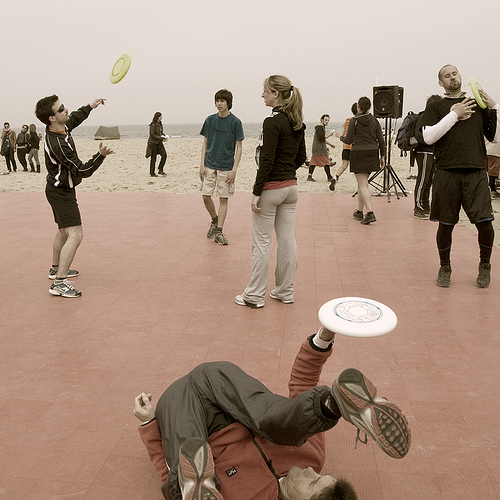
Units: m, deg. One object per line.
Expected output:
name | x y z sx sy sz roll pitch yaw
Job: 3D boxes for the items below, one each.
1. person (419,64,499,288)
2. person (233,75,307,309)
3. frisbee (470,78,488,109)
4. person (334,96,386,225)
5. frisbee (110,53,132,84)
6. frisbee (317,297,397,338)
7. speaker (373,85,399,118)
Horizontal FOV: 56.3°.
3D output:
person | 2.105 -0.690 4.679 0.853 2.192 0.443 5 16 17
person | 0.219 -0.472 4.227 0.605 2.053 0.305 -2 15 -11
frisbee | 2.092 -1.419 4.239 0.171 0.256 0.411 8 16 24
person | 2.002 -1.600 8.360 0.696 2.175 1.063 -9 13 -34
frisbee | -1.557 -2.166 5.576 0.415 0.411 0.050 -3 -19 40
frisbee | 0.370 0.223 1.583 0.258 0.047 0.307 10 16 31
speaker | 2.974 -3.176 10.105 0.546 0.674 0.498 6 14 44
